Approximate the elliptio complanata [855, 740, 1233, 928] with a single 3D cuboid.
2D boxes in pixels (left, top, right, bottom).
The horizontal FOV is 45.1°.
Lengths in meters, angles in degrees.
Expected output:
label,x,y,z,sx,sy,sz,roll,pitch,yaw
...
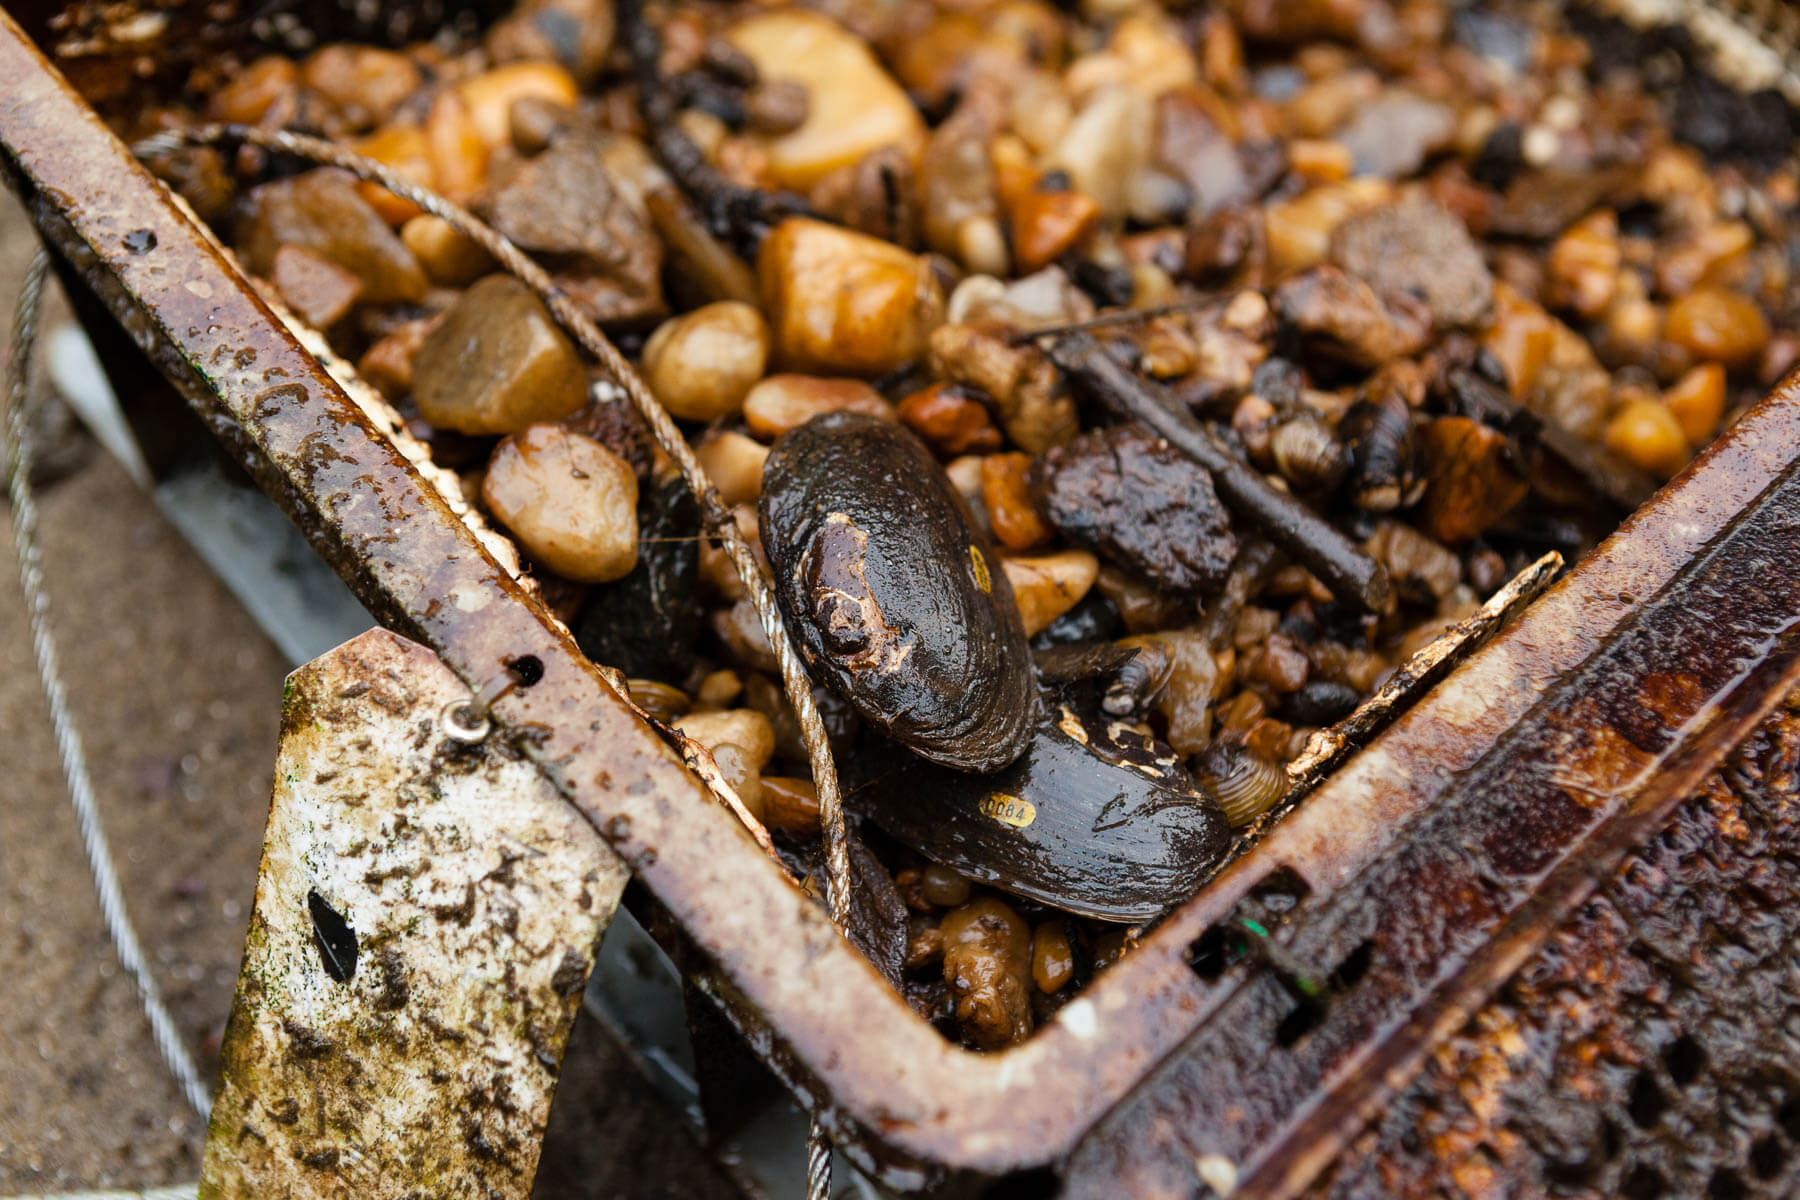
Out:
label,x,y,z,sx,sy,sz,roll,pitch,yaw
elliptio complanata,0.267,0.401,3.693,0.440,0.159,0.350,10,63,1
